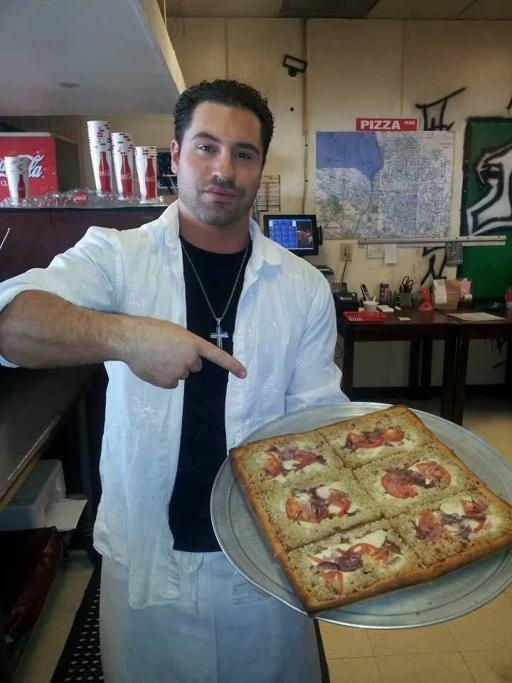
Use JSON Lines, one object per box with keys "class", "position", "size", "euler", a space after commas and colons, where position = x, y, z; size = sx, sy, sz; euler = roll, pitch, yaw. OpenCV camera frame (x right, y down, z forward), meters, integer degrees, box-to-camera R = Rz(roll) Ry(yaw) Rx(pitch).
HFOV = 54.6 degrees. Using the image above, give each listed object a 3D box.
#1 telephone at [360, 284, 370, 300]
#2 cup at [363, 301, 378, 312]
{"class": "telephone", "position": [0.817, -0.376, 3.732], "size": [0.038, 0.041, 0.156], "euler": [-18, 43, 18]}
{"class": "cup", "position": [0.794, -0.244, 3.433], "size": [0.075, 0.058, 0.084], "euler": [0, 2, 5]}
